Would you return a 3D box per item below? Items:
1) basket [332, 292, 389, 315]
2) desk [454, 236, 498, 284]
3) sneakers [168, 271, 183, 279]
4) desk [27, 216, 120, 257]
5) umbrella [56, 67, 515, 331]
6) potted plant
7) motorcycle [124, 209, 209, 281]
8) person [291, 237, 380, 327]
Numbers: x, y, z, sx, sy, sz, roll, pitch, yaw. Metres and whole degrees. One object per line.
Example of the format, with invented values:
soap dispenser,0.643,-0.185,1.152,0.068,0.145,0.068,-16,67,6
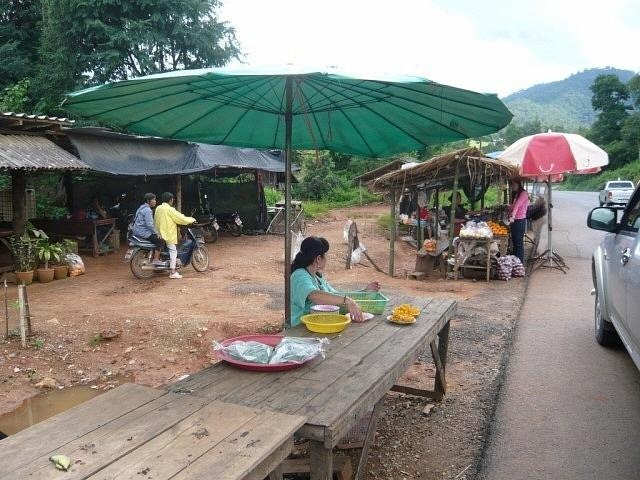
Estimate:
basket,0.418,0.563,4.653,0.355,0.095,0.236,2,13,2
desk,3.512,0.452,11.294,1.020,0.853,0.964,1,3,6
sneakers,-3.328,0.813,11.532,0.297,0.125,0.159,4,8,6
desk,-6.933,-0.184,14.730,1.882,0.890,1.317,1,6,5
umbrella,-0.233,-0.881,4.689,3.627,1.156,2.360,-1,10,-1
potted plant,-6.247,0.402,11.186,1.198,0.894,1.280,3,8,-21
motorcycle,-3.751,0.157,12.325,1.270,1.400,2.275,10,13,41
person,0.212,0.411,4.986,0.909,1.178,0.844,-2,3,4
